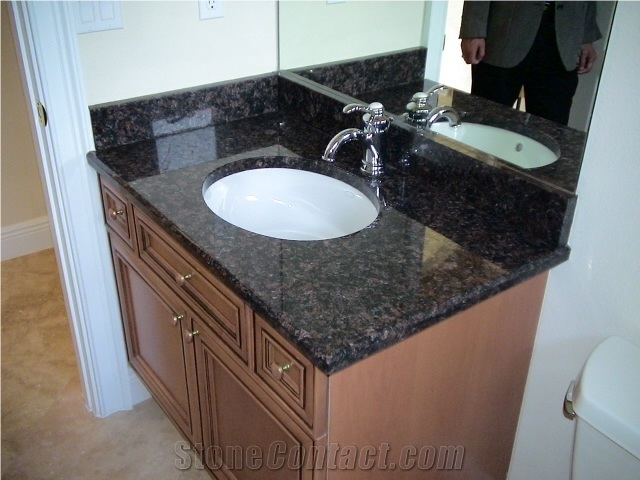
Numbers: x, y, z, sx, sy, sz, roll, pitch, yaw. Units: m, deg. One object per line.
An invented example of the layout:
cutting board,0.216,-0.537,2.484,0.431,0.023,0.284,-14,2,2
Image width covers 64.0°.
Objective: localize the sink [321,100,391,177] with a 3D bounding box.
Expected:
sink,0.115,-0.281,1.498,0.093,0.214,0.230,23,38,33
